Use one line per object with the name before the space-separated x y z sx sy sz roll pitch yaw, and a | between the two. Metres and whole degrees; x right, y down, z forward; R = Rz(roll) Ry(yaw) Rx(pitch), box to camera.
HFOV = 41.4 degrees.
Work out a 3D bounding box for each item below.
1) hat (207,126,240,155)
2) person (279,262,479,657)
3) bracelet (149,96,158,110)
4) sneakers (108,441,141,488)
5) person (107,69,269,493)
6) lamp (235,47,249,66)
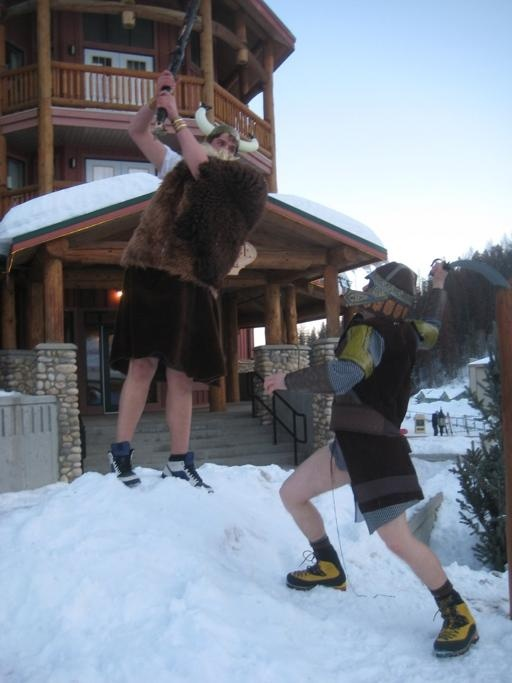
hat | -0.181 -1.109 3.823 0.160 0.183 0.200 -2 -1 -13
person | 0.642 0.404 3.206 1.055 1.325 0.749 7 -4 28
bracelet | -0.539 -1.255 3.541 0.065 0.056 0.062 7 -6 -15
sneakers | -0.751 0.684 3.795 0.128 0.197 0.348 0 7 -26
person | -0.420 -0.269 3.710 0.836 1.981 0.775 10 -4 -15
lamp | -0.302 -6.551 15.488 0.223 0.398 0.317 10 -3 -15
